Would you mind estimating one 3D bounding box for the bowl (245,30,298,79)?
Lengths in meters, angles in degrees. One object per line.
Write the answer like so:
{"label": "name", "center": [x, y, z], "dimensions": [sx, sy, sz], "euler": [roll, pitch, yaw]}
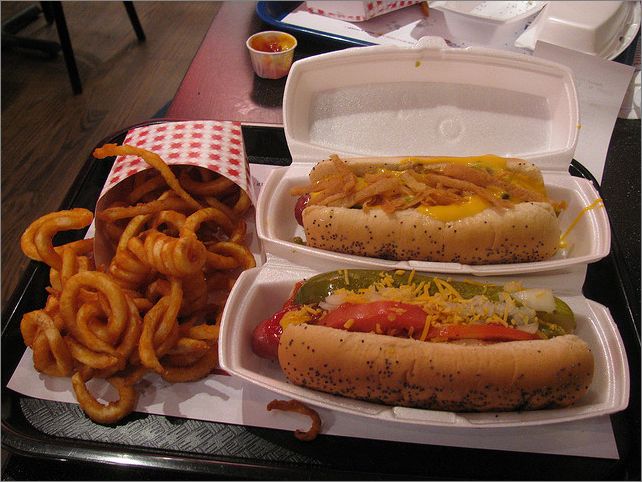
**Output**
{"label": "bowl", "center": [-0.443, -1.685, 4.536], "dimensions": [0.468, 0.299, 0.468], "euler": [1, 48, -1]}
